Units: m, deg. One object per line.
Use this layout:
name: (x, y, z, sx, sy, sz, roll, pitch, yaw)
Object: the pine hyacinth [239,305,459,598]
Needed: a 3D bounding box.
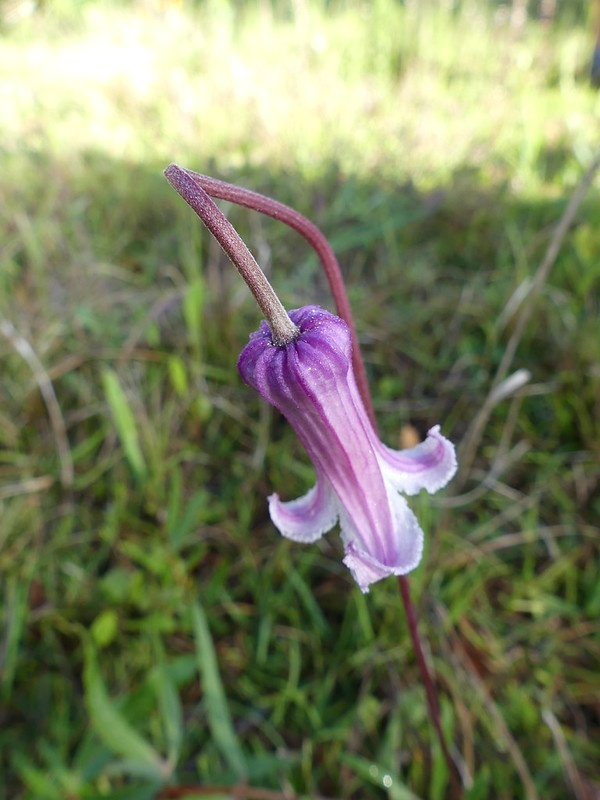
pine hyacinth: (0.065, 0.101, 1.386, 0.387, 0.360, 0.506, -17, 82, -32)
